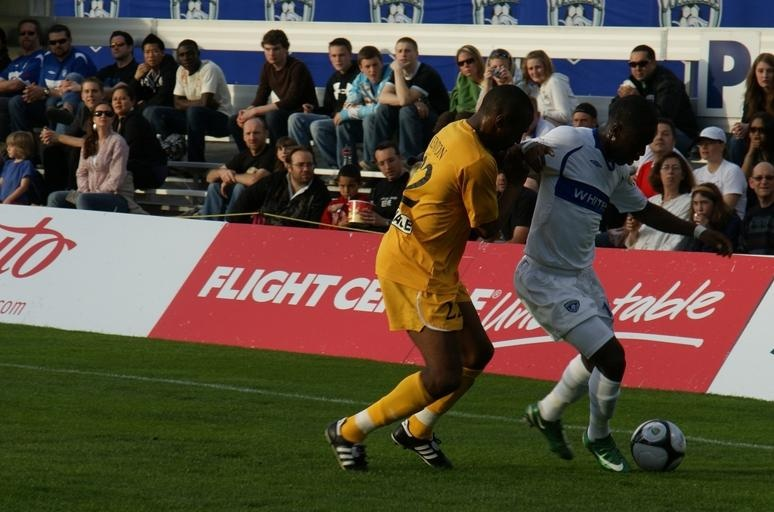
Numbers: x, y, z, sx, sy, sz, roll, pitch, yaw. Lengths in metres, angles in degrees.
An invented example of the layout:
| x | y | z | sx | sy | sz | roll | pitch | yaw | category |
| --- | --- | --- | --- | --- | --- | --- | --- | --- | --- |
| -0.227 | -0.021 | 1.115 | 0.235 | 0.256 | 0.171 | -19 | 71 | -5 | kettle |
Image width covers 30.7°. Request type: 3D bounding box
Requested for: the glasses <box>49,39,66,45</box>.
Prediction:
| x | y | z | sx | sy | sz | roll | pitch | yaw | category |
| --- | --- | --- | --- | --- | --- | --- | --- | --- | --- |
| -4.872 | -3.187 | 21.032 | 0.120 | 0.035 | 0.120 | 0 | 43 | -2 | glasses |

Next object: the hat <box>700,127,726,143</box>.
| x | y | z | sx | sy | sz | roll | pitch | yaw | category |
| --- | --- | --- | --- | --- | --- | --- | --- | --- | --- |
| 4.110 | -1.512 | 17.702 | 0.240 | 0.171 | 0.349 | 2 | -4 | 44 | hat |

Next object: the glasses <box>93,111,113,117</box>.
| x | y | z | sx | sy | sz | roll | pitch | yaw | category |
| --- | --- | --- | --- | --- | --- | --- | --- | --- | --- |
| -3.734 | -1.891 | 18.702 | 0.245 | 0.083 | 0.142 | -2 | 14 | -13 | glasses |

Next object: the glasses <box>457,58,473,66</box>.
| x | y | z | sx | sy | sz | roll | pitch | yaw | category |
| --- | --- | --- | --- | --- | --- | --- | --- | --- | --- |
| 1.043 | -2.598 | 18.932 | 0.123 | 0.118 | 0.252 | -12 | 19 | -44 | glasses |

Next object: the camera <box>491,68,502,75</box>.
| x | y | z | sx | sy | sz | roll | pitch | yaw | category |
| --- | --- | --- | --- | --- | --- | --- | --- | --- | --- |
| 1.430 | -2.403 | 18.380 | 0.087 | 0.085 | 0.082 | 31 | -10 | 21 | camera |

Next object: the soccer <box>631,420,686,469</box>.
| x | y | z | sx | sy | sz | roll | pitch | yaw | category |
| --- | --- | --- | --- | --- | --- | --- | --- | --- | --- |
| 2.583 | 1.799 | 13.519 | 0.485 | 0.461 | 0.470 | 0 | -4 | -2 | soccer |
